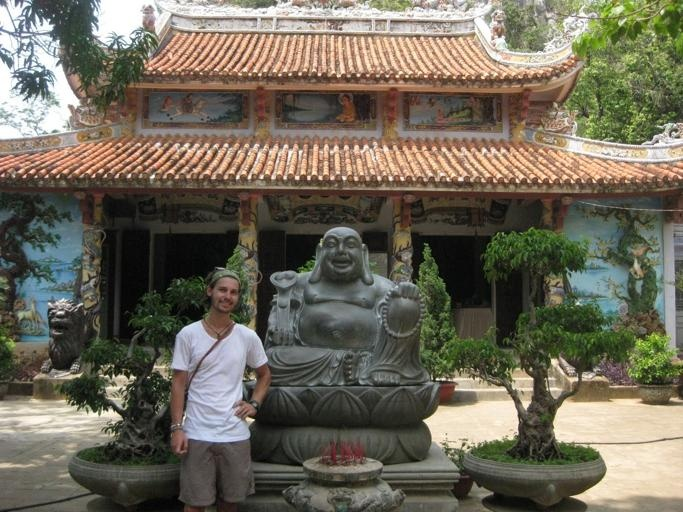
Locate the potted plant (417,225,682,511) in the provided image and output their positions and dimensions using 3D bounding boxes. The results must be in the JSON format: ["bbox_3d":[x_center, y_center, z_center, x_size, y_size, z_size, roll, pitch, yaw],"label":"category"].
[{"bbox_3d":[2.011,0.860,7.077,1.668,2.265,0.761,1,-2,-9],"label":"potted plant"}]

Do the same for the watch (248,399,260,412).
[{"bbox_3d":[-0.719,1.275,5.887,0.112,0.113,0.108,2,0,-16],"label":"watch"}]

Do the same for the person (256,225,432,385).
[{"bbox_3d":[0.055,0.478,6.856,1.559,1.515,0.654,1,-2,-5],"label":"person"}]

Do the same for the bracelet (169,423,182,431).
[{"bbox_3d":[-1.344,1.399,5.717,0.097,0.073,0.066,1,-2,4],"label":"bracelet"}]
